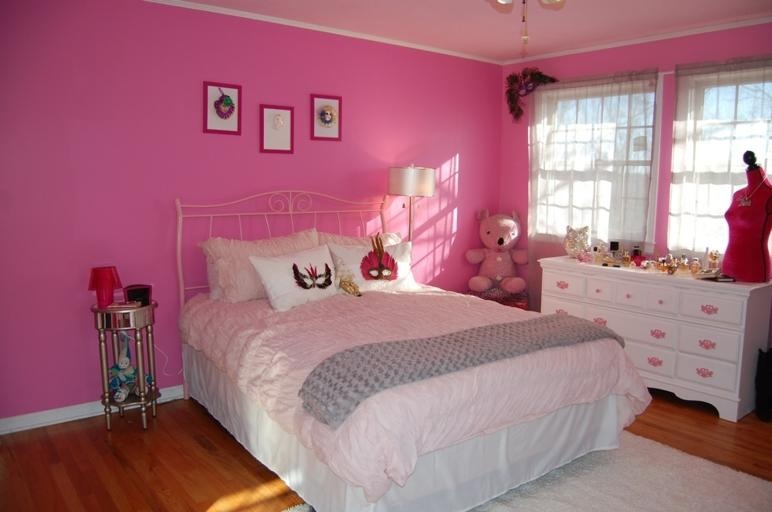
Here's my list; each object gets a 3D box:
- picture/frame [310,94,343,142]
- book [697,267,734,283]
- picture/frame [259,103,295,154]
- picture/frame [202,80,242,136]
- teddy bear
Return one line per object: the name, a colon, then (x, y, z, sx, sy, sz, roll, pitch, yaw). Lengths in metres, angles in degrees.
picture/frame: (-0.632, -1.413, 5.258, 0.460, 0.611, 0.042, -4, 11, -34)
book: (2.981, 0.175, 4.692, 0.288, 0.073, 0.332, 3, 11, 32)
picture/frame: (-1.083, -1.241, 5.023, 0.461, 0.631, 0.035, -4, 12, -33)
picture/frame: (-1.536, -1.371, 4.771, 0.486, 0.663, 0.029, -4, 12, -32)
teddy bear: (1.371, -0.035, 6.324, 0.774, 1.011, 0.692, 3, 4, 7)
